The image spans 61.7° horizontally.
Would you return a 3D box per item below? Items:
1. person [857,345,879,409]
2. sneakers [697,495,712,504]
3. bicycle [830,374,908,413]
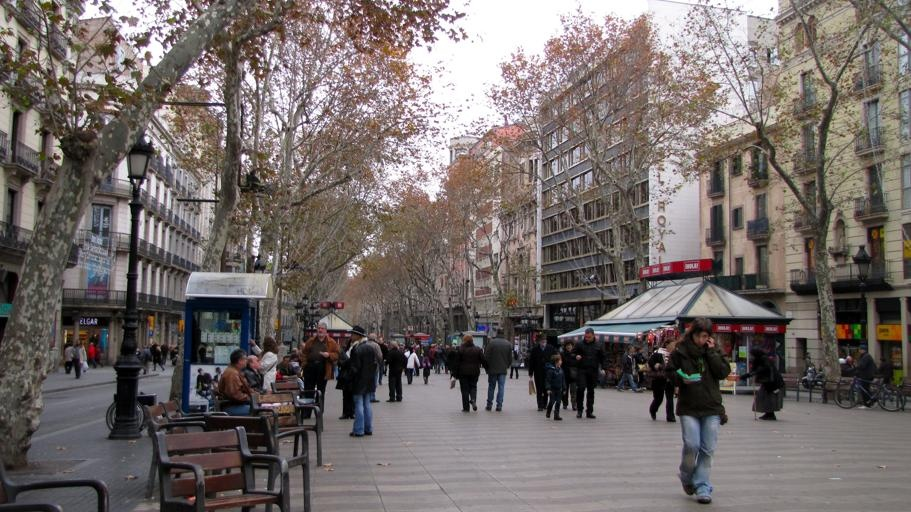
[{"bbox_3d":[16.544,4.847,30.954,0.939,2.345,0.917,1,-5,40],"label":"person"},{"bbox_3d":[5.847,5.714,17.838,0.310,0.135,0.161,-8,-8,35],"label":"sneakers"},{"bbox_3d":[16.772,5.559,30.926,2.649,1.540,1.311,-1,-3,29],"label":"bicycle"}]
